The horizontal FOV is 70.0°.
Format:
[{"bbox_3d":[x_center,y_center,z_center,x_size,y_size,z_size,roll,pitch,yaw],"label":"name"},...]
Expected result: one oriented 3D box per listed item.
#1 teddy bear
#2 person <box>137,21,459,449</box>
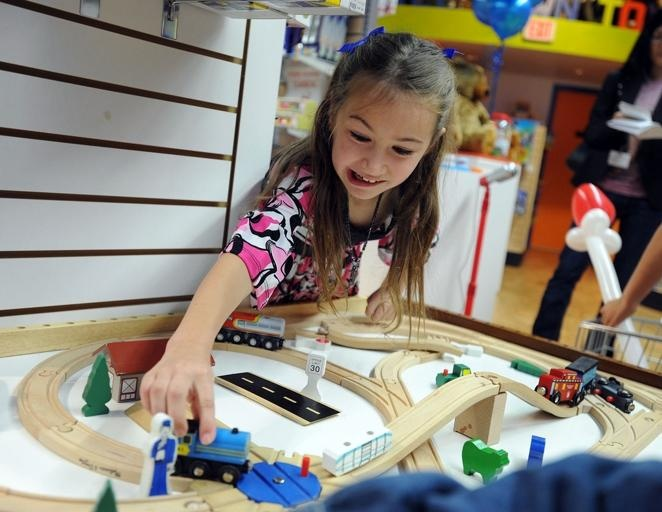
[{"bbox_3d":[0.825,-0.865,2.859,0.391,0.597,0.416,-1,1,3],"label":"teddy bear"},{"bbox_3d":[-0.086,-0.046,1.088,0.323,0.704,0.851,18,47,-1],"label":"person"}]
